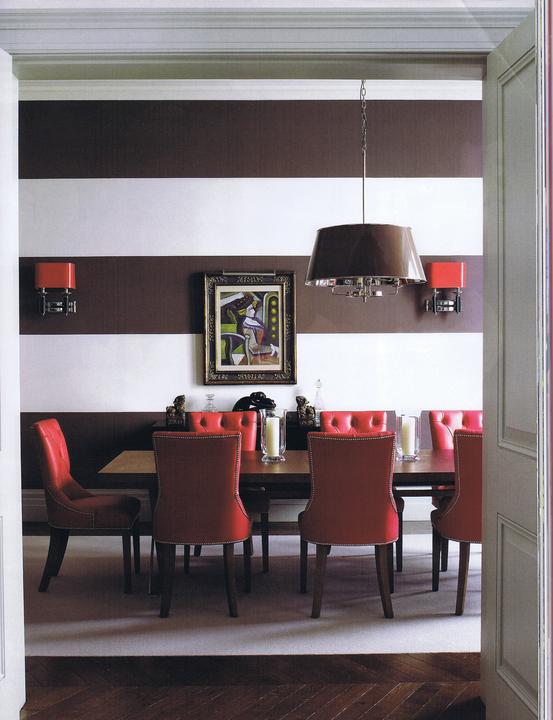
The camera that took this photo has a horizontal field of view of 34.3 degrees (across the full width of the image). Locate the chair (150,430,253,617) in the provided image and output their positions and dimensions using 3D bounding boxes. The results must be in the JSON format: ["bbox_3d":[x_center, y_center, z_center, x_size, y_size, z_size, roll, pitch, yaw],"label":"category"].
[{"bbox_3d":[-0.228,0.493,2.755,0.299,0.588,0.285,0,5,-5],"label":"chair"}]

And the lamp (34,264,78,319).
[{"bbox_3d":[-0.838,-0.248,3.420,0.135,0.301,0.175,0,2,-5],"label":"lamp"}]

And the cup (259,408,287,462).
[{"bbox_3d":[0.008,0.260,3.023,0.101,0.238,0.120,0,-2,16],"label":"cup"}]

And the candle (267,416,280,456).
[{"bbox_3d":[-0.009,0.258,2.931,0.049,0.133,0.030,0,5,-2],"label":"candle"}]

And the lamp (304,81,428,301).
[{"bbox_3d":[0.317,-0.587,3.065,0.366,0.763,0.908,1,6,9],"label":"lamp"}]

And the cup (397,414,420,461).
[{"bbox_3d":[0.428,0.257,2.927,0.086,0.228,0.102,0,-3,8],"label":"cup"}]

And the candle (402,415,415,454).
[{"bbox_3d":[0.432,0.253,2.933,0.045,0.127,0.056,1,5,11],"label":"candle"}]

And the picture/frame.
[{"bbox_3d":[-0.116,-0.142,3.856,0.320,0.596,0.037,0,-1,1],"label":"picture/frame"}]

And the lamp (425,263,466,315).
[{"bbox_3d":[0.718,-0.272,3.767,0.143,0.251,0.126,2,-32,13],"label":"lamp"}]
